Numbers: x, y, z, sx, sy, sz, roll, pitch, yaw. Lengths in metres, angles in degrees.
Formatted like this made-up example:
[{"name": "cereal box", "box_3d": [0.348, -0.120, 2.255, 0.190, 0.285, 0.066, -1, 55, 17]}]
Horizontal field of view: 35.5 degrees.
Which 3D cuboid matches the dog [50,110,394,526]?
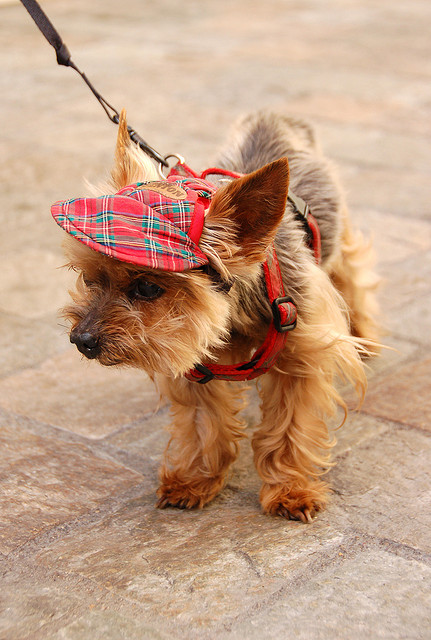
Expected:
[{"name": "dog", "box_3d": [0.096, -0.098, 2.565, 0.901, 1.439, 1.544, -1, 12, 18]}]
